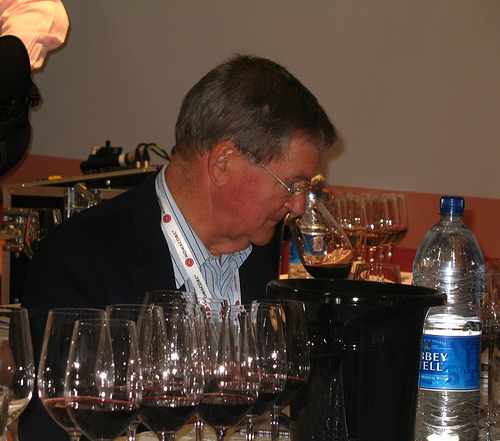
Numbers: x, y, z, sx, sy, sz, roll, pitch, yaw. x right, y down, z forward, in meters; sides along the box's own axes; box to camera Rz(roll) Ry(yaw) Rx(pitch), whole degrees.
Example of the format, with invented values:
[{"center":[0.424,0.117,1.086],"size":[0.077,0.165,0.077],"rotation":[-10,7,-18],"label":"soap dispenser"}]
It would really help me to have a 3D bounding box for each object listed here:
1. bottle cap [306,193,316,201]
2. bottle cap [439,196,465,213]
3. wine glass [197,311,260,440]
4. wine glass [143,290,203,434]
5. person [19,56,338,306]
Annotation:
[{"center":[0.190,-0.072,1.910],"size":[0.023,0.032,0.026],"rotation":[0,-2,4],"label":"bottle cap"},{"center":[0.403,-0.031,1.230],"size":[0.032,0.034,0.036],"rotation":[1,-4,-1],"label":"bottle cap"},{"center":[-0.029,0.230,0.931],"size":[0.091,0.195,0.083],"rotation":[1,-12,-6],"label":"wine glass"},{"center":[-0.123,0.214,0.996],"size":[0.091,0.234,0.237],"rotation":[2,-13,-9],"label":"wine glass"},{"center":[-0.158,-0.067,1.641],"size":[0.737,0.612,0.433],"rotation":[2,-13,-6],"label":"person"}]
